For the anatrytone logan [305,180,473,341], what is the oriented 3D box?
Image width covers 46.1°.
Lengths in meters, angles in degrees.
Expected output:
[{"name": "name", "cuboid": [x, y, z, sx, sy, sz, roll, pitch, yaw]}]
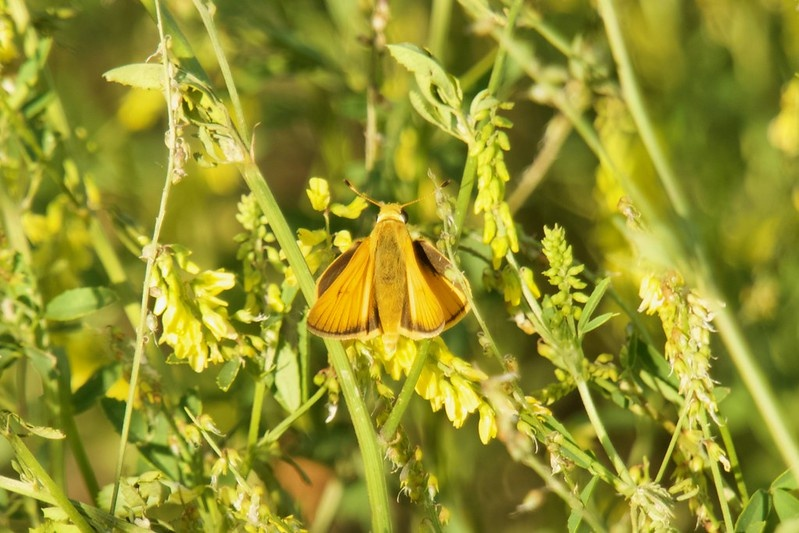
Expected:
[{"name": "anatrytone logan", "cuboid": [-0.032, -0.028, 2.061, 0.375, 0.580, 0.165, -9, 59, -5]}]
